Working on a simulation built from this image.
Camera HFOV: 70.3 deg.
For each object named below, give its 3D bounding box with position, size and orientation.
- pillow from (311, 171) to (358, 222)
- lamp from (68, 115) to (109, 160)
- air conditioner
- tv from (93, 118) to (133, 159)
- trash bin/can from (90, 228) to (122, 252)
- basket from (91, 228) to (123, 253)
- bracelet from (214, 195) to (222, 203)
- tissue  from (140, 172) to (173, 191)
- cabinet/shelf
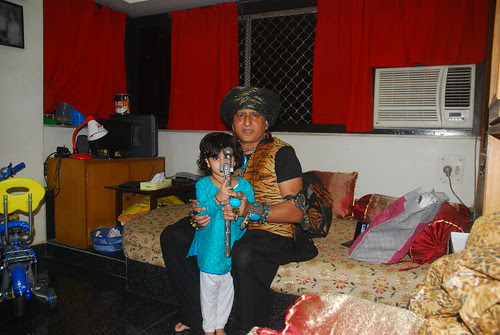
[{"bbox_3d":[0.912,0.295,3.548,0.435,0.487,0.146,-1,-10,30],"label":"pillow"},{"bbox_3d":[-1.823,-0.334,3.946,0.411,0.452,0.607,-5,7,-42],"label":"lamp"},{"bbox_3d":[1.717,-0.665,3.530,1.026,0.672,0.591,2,6,20],"label":"air conditioner"},{"bbox_3d":[-1.592,-0.369,4.025,0.457,0.437,0.254,1,-16,-9],"label":"tv"},{"bbox_3d":[-1.431,0.733,3.633,0.273,0.122,0.275,1,-4,0],"label":"trash bin/can"},{"bbox_3d":[-1.461,0.732,3.598,0.278,0.126,0.282,3,5,24],"label":"basket"},{"bbox_3d":[-0.214,0.212,2.391,0.051,0.052,0.056,-3,-11,19],"label":"bracelet"},{"bbox_3d":[-1.005,0.141,3.831,0.166,0.133,0.287,2,9,22],"label":"tissue "},{"bbox_3d":[-1.605,0.302,4.278,0.791,1.244,1.499,3,5,26],"label":"cabinet/shelf"}]
